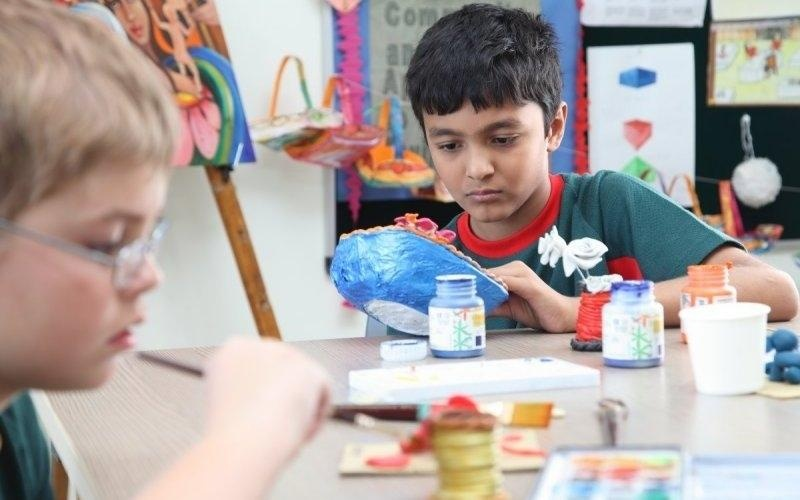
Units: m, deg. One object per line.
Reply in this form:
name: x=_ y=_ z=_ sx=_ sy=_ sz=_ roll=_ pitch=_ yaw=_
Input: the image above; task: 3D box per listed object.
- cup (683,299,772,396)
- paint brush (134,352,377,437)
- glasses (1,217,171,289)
cup: x=0.409 y=0.125 z=0.912 sx=0.112 sy=0.081 sz=0.109 roll=-4 pitch=-7 yaw=0
paint brush: x=-0.157 y=0.159 z=0.781 sx=0.286 sy=0.021 sz=0.040 roll=16 pitch=34 yaw=17
glasses: x=-0.317 y=-0.005 z=0.727 sx=0.087 sy=0.024 sz=0.080 roll=26 pitch=4 yaw=-5
